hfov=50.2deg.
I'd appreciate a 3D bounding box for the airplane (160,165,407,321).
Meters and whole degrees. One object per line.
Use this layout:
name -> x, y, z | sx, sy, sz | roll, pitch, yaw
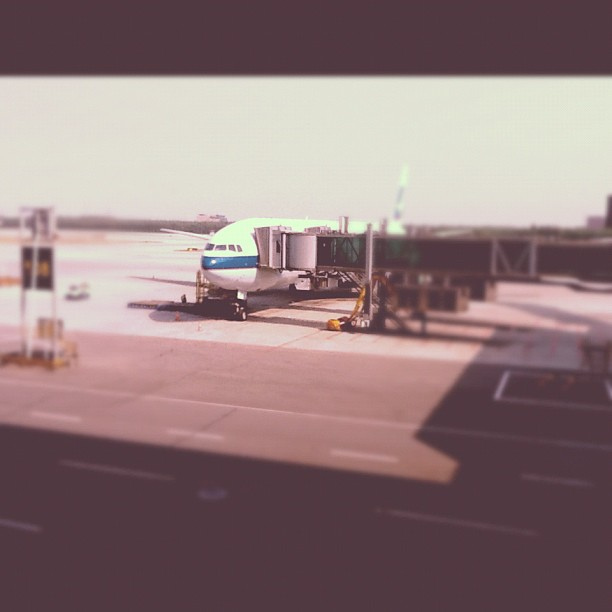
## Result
airplane -> -0.754, -2.009, 37.925 | 10.610, 7.216, 11.777 | -6, 19, -27
